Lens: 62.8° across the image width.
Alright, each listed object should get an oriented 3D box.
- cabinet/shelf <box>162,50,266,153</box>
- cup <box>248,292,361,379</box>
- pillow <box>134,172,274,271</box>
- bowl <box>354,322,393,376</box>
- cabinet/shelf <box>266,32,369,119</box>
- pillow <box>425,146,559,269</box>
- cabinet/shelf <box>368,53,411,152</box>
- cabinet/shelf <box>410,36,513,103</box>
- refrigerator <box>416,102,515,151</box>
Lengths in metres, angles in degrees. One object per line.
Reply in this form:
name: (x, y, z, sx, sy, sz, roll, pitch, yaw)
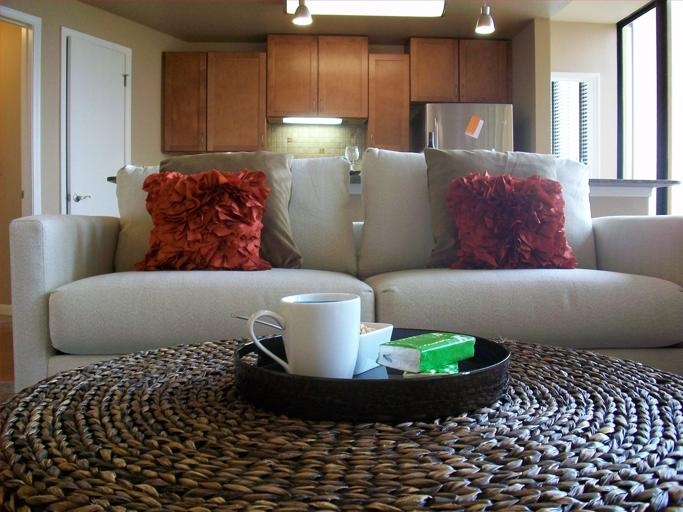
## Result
cabinet/shelf: (-1.256, -1.525, 5.507, 1.043, 0.949, 0.239, 0, 14, 0)
cup: (-0.039, 0.121, 0.927, 0.201, 0.123, 0.121, -2, 3, -19)
pillow: (-0.481, -0.120, 2.018, 0.413, 0.288, 0.147, -1, -8, -2)
bowl: (0.055, 0.158, 0.996, 0.069, 0.047, 0.092, 1, -5, -9)
cabinet/shelf: (-0.263, -1.774, 5.492, 0.952, 0.606, 0.342, 0, 4, -2)
pillow: (0.568, -0.169, 2.146, 0.522, 0.423, 0.165, 2, -17, -8)
cabinet/shelf: (0.476, -1.525, 5.542, 0.411, 0.936, 0.221, 0, 14, 2)
cabinet/shelf: (1.159, -1.853, 5.588, 0.840, 0.443, 0.282, 0, 2, -6)
refrigerator: (1.236, -1.239, 5.348, 0.839, 0.437, 0.284, -3, 14, -11)
